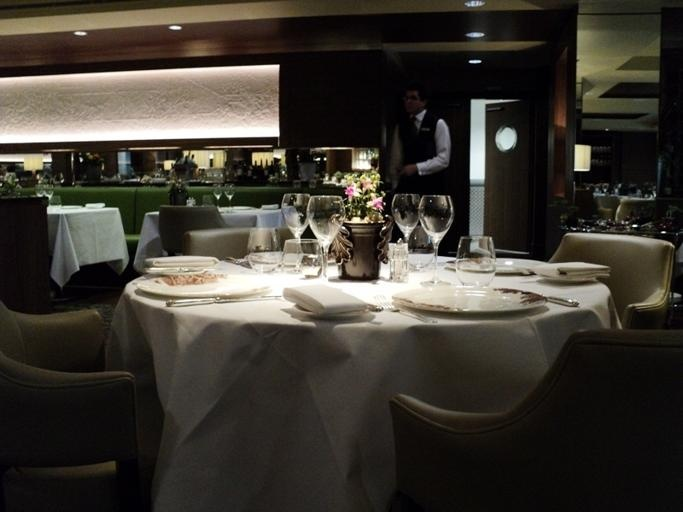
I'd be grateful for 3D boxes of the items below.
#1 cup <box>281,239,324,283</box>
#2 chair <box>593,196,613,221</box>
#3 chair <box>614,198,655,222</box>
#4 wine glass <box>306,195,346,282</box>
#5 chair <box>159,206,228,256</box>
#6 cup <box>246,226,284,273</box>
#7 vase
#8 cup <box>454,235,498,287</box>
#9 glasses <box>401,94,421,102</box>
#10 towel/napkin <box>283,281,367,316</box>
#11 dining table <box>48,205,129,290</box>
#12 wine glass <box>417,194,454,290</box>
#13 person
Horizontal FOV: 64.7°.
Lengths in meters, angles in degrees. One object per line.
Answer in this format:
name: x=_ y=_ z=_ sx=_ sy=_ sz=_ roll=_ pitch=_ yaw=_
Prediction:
cup: x=-0.132 y=0.003 z=1.817 sx=0.166 sy=0.143 sz=0.170 roll=0 pitch=6 yaw=0
chair: x=2.286 y=-0.421 z=4.675 sx=0.162 sy=0.223 sz=0.148 roll=3 pitch=14 yaw=18
chair: x=2.452 y=-0.371 z=4.487 sx=0.174 sy=0.197 sz=0.191 roll=-2 pitch=2 yaw=-6
wine glass: x=-0.051 y=-0.056 z=1.783 sx=0.112 sy=0.353 sz=0.118 roll=-8 pitch=33 yaw=-18
chair: x=-1.233 y=-0.265 z=4.469 sx=0.502 sy=0.517 sz=0.507 roll=7 pitch=12 yaw=33
cup: x=-0.269 y=-0.032 z=1.847 sx=0.118 sy=0.184 sz=0.123 roll=-1 pitch=3 yaw=0
vase: x=0.069 y=-0.032 z=1.808 sx=0.214 sy=0.208 sz=0.216 roll=5 pitch=10 yaw=19
cup: x=0.381 y=0.005 z=1.535 sx=0.110 sy=0.162 sz=0.110 roll=-3 pitch=22 yaw=1
glasses: x=0.781 y=-1.734 z=5.905 sx=0.172 sy=0.075 sz=0.124 roll=3 pitch=11 yaw=15
towel/napkin: x=-0.031 y=0.112 z=1.377 sx=0.102 sy=0.039 sz=0.107 roll=5 pitch=11 yaw=-45
dining table: x=-2.457 y=-0.166 z=5.061 sx=0.894 sy=0.578 sz=0.974 roll=-2 pitch=11 yaw=-11
wine glass: x=0.312 y=-0.059 z=1.781 sx=0.104 sy=0.323 sz=0.113 roll=-9 pitch=17 yaw=-21
person: x=0.907 y=-1.288 z=6.073 sx=0.630 sy=1.160 sz=0.715 roll=2 pitch=10 yaw=9
